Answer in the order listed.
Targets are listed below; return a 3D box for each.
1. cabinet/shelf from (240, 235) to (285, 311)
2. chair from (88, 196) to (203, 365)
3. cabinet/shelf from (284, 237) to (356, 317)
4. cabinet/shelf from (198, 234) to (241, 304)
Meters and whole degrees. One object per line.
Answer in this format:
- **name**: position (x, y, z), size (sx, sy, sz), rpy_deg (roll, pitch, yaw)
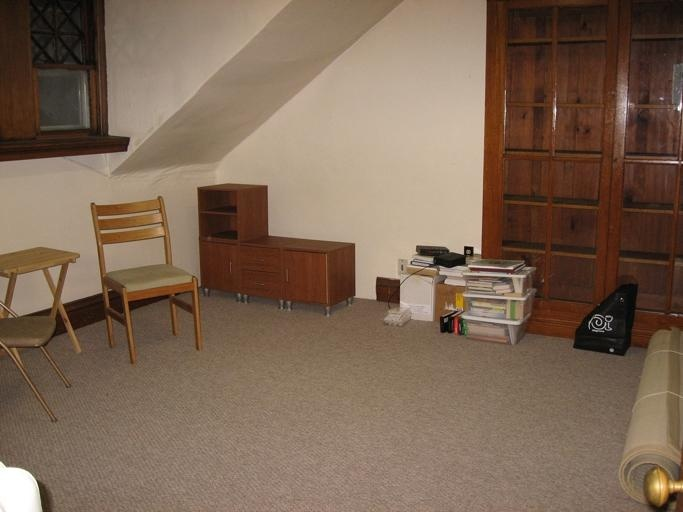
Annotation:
- **cabinet/shelf**: position (-0.749, 0.139, 4.950), size (0.428, 0.553, 0.410), rpy_deg (2, 10, -2)
- **chair**: position (-1.579, 0.081, 4.073), size (0.648, 1.086, 1.176), rpy_deg (-8, 16, -25)
- **cabinet/shelf**: position (-0.211, 0.183, 4.795), size (0.563, 0.536, 0.420), rpy_deg (4, 11, 38)
- **cabinet/shelf**: position (-1.182, 0.105, 4.979), size (0.568, 0.532, 0.316), rpy_deg (8, 15, 36)
